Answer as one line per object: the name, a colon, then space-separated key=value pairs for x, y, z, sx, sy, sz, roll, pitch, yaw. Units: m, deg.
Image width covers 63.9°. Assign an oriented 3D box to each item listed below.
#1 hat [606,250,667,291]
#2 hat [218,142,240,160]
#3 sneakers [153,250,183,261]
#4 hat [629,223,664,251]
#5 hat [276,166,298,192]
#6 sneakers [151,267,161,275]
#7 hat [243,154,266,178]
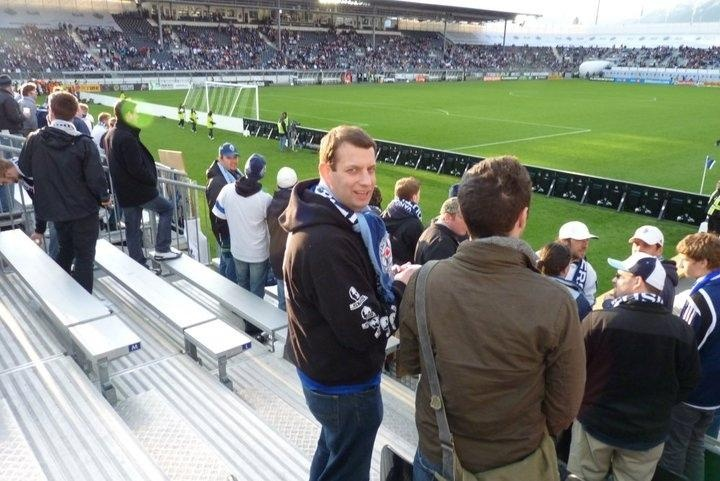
hat: x=2.214 y=0.213 z=4.673 sx=0.283 sy=0.253 sz=0.435 roll=2 pitch=19 yaw=-44
hat: x=-1.751 y=-1.174 z=7.580 sx=0.282 sy=0.177 sz=0.202 roll=15 pitch=25 yaw=40
sneakers: x=-2.342 y=0.150 z=7.117 sx=0.364 sy=0.161 sz=0.125 roll=-6 pitch=17 yaw=-28
hat: x=3.191 y=-0.043 z=6.371 sx=0.373 sy=0.217 sz=0.256 roll=15 pitch=-4 yaw=-33
hat: x=-0.837 y=-0.718 z=6.624 sx=0.186 sy=0.156 sz=0.281 roll=1 pitch=34 yaw=-3
sneakers: x=-2.524 y=0.375 z=7.170 sx=0.124 sy=0.104 sz=0.134 roll=3 pitch=10 yaw=-6
hat: x=-1.178 y=-0.847 z=6.583 sx=0.201 sy=0.310 sz=0.274 roll=4 pitch=5 yaw=-7
